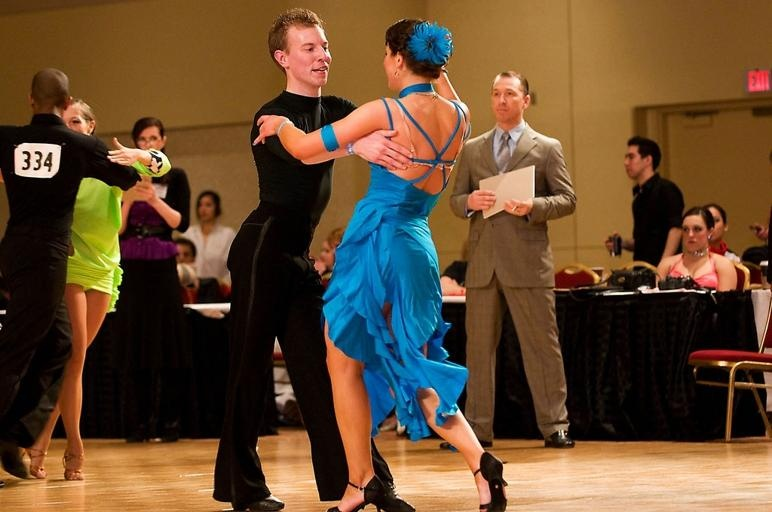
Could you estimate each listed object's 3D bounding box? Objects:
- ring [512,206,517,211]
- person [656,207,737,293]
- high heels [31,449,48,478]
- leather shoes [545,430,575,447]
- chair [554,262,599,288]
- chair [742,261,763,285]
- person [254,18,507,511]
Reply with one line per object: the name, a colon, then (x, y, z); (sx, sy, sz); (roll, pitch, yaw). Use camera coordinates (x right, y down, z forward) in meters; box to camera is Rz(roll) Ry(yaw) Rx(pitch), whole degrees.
ring: (0.871, -0.317, 5.485); (0.032, 0.025, 0.004); (-1, -3, -7)
person: (2.529, -0.042, 6.673); (0.594, 0.741, 0.361); (2, -14, 41)
high heels: (-2.079, 1.233, 4.867); (0.077, 0.211, 0.063); (3, 0, -16)
leather shoes: (1.193, 1.263, 5.577); (0.087, 0.100, 0.232); (4, -14, -23)
chair: (1.666, 0.173, 6.977); (0.155, 0.203, 0.567); (0, -7, -37)
chair: (3.245, 0.162, 7.160); (0.191, 0.136, 0.105); (-1, 4, -7)
person: (0.027, 0.034, 3.703); (0.939, 2.218, 0.375); (-1, -3, -8)
